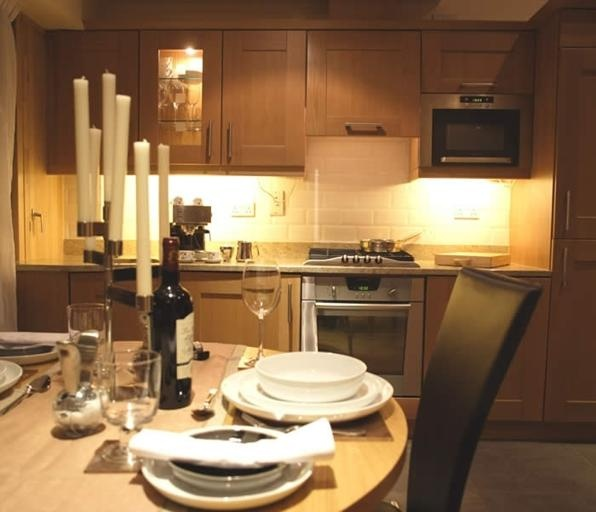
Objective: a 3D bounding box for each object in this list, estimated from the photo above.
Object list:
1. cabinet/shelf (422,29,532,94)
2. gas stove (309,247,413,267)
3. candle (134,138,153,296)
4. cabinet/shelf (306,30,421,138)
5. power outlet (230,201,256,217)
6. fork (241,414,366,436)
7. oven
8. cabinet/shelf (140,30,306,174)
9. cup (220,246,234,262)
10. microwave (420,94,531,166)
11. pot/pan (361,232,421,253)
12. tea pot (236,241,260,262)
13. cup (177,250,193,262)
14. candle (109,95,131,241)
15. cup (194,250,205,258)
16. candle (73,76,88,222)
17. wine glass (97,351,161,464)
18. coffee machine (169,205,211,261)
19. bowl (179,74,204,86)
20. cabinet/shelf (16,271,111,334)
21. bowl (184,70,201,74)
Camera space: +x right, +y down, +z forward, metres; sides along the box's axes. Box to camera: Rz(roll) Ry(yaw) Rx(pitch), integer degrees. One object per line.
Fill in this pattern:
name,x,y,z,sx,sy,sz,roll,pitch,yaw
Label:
cabinet/shelf,0.990,-0.993,3.425,0.557,0.315,0.341,4,-10,10
gas stove,0.348,-0.004,3.391,0.591,0.042,0.562,2,11,4
candle,-0.346,-0.084,1.358,0.035,0.338,0.080,-2,10,-16
cabinet/shelf,0.365,-0.950,3.298,0.479,0.477,0.199,0,7,1
power outlet,-0.331,-0.277,3.667,0.147,0.100,0.015,1,10,1
fork,0.006,0.365,1.330,0.213,0.029,0.031,7,-8,6
oven,0.349,0.523,3.249,0.667,0.685,0.504,3,-38,5
cabinet/shelf,-0.377,-0.844,3.270,0.901,0.875,0.369,0,2,3
cup,-0.389,-0.011,3.378,0.070,0.089,0.075,-1,7,0
microwave,1.005,-0.768,3.442,0.607,0.444,0.364,4,37,19
pot/pan,0.521,-0.067,3.511,0.267,0.098,0.164,-1,5,-4
tea pot,-0.289,-0.032,3.504,0.132,0.129,0.374,0,11,-4
cup,-0.600,-0.001,3.282,0.056,0.044,0.063,2,2,-23
candle,-0.408,-0.202,1.396,0.053,0.322,0.156,-2,10,-15
cup,-0.532,-0.007,3.304,0.060,0.039,0.069,-2,11,-14
candle,-0.484,-0.234,1.373,0.030,0.309,0.054,-3,10,-19
wine glass,-0.361,0.312,1.307,0.121,0.218,0.123,5,-5,-9
coffee machine,-0.607,-0.144,3.439,0.219,0.286,0.247,1,5,5
bowl,-0.592,-0.961,3.358,0.104,0.062,0.051,0,10,3
cabinet/shelf,-1.041,0.179,2.693,0.317,0.341,0.186,0,0,-3
bowl,-0.582,-0.998,3.353,0.060,0.028,0.035,1,11,-2
